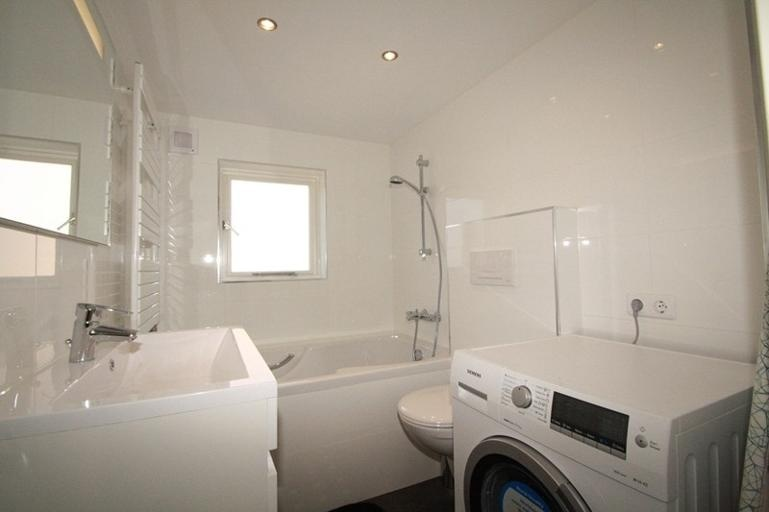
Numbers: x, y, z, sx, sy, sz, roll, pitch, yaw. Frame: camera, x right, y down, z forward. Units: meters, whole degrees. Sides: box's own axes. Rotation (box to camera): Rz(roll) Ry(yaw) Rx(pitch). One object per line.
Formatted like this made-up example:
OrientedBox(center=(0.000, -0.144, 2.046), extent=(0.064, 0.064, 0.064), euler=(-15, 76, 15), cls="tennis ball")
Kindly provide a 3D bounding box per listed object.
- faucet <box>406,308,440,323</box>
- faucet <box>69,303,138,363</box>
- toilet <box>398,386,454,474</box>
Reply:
OrientedBox(center=(0.295, 0.442, 3.746), extent=(0.101, 0.073, 0.168), euler=(-1, 3, -27), cls="faucet")
OrientedBox(center=(-1.191, 0.319, 2.110), extent=(0.251, 0.256, 0.150), euler=(10, 8, -17), cls="faucet")
OrientedBox(center=(0.221, 0.874, 2.795), extent=(0.287, 0.269, 0.486), euler=(-1, 14, 3), cls="toilet")
